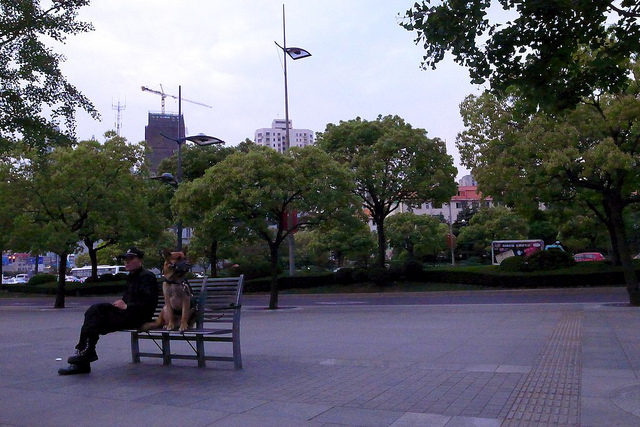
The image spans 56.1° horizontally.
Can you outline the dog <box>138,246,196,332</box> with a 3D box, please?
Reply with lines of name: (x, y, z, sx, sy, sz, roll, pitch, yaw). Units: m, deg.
dog: (-2.981, 1.507, 12.031, 0.960, 1.675, 0.597, -1, -7, 1)
